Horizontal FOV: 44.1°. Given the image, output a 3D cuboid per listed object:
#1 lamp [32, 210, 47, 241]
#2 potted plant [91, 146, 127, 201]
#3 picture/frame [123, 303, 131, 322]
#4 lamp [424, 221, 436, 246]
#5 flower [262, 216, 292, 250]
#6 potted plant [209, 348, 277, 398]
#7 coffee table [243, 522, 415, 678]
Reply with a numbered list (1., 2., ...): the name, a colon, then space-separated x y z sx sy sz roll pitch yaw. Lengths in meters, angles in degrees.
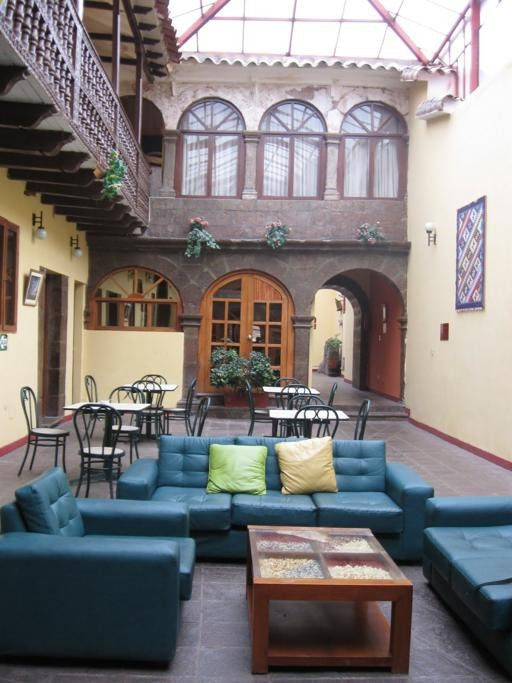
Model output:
1. lamp: -2.617 -1.411 7.619 0.139 0.349 0.437 0 4 -14
2. potted plant: -1.468 -1.788 6.653 0.261 0.407 0.296 -2 26 -32
3. picture/frame: -2.174 -0.488 10.658 0.175 0.243 0.072 4 -1 5
4. lamp: 2.622 -1.589 9.409 0.160 0.330 0.556 2 4 14
5. flower: 0.360 -1.776 10.433 0.426 0.496 0.337 1 4 0
6. potted plant: -0.252 0.501 10.092 0.759 0.539 0.747 2 -7 -3
7. coffee table: 0.322 1.220 3.106 0.694 0.406 0.798 1 4 -2
